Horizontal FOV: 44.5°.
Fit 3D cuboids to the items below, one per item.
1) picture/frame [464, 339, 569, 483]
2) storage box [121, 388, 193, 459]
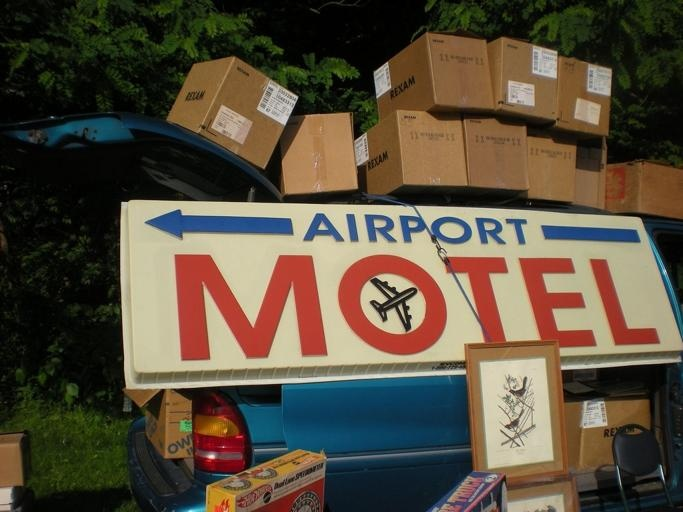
[{"bbox_3d":[1.322,1.179,6.333,0.925,0.058,1.317,2,77,-18],"label":"picture/frame"},{"bbox_3d":[-1.507,1.327,6.800,0.480,0.554,0.433,1,97,-37],"label":"storage box"}]
